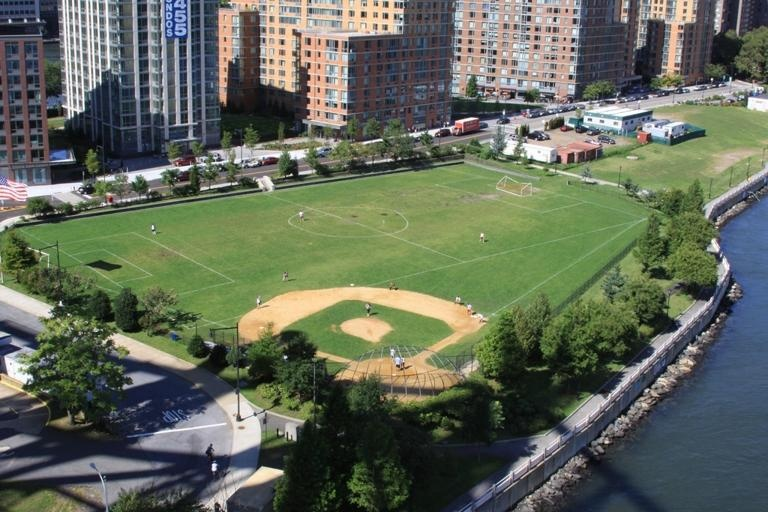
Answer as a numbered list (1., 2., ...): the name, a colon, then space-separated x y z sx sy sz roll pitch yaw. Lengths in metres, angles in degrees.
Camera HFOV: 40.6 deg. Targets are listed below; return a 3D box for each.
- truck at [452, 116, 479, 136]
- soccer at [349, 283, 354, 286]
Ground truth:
1. truck: 25.279 -39.329 311.820 9.842 4.071 4.113 -19 31 -32
2. soccer: -6.240 5.585 206.250 0.486 0.141 0.572 5 17 12
